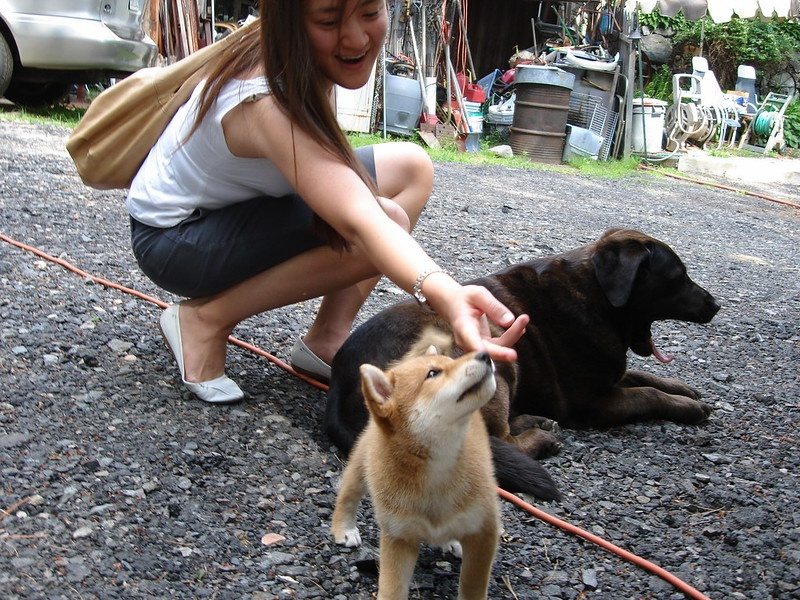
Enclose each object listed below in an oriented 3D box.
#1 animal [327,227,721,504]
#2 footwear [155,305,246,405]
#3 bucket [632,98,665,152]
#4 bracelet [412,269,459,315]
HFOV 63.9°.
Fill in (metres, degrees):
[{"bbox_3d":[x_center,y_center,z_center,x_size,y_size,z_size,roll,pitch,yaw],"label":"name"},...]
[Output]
[{"bbox_3d":[0.623,0.347,3.183,1.645,0.800,1.160,-6,15,0],"label":"animal"},{"bbox_3d":[-0.986,0.264,3.098,0.252,0.192,0.601,-19,73,-51],"label":"footwear"},{"bbox_3d":[4.819,-3.496,12.965,0.837,0.834,0.806,-4,9,1],"label":"bucket"},{"bbox_3d":[0.107,-0.045,2.214,0.122,0.162,0.146,6,21,1],"label":"bracelet"}]
